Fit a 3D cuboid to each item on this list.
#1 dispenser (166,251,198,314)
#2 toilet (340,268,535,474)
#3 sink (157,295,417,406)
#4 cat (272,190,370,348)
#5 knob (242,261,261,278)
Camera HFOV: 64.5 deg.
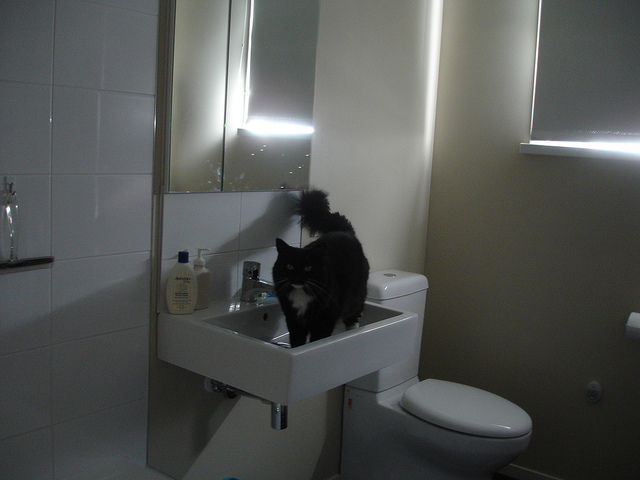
[{"bbox_3d":[-0.436,0.128,1.612,0.106,0.219,0.050,1,22,-17],"label":"dispenser"},{"bbox_3d":[0.594,0.594,2.578,0.959,1.205,0.623,3,7,34],"label":"toilet"},{"bbox_3d":[-0.089,0.318,1.720,0.768,0.205,0.495,-8,14,-44],"label":"sink"},{"bbox_3d":[0.017,0.088,1.838,0.284,0.431,0.779,9,17,4],"label":"cat"},{"bbox_3d":[-0.237,0.108,1.773,0.062,0.061,0.039,3,3,20],"label":"knob"}]
